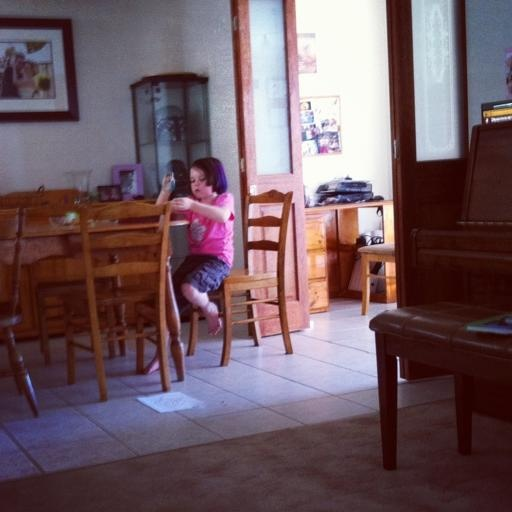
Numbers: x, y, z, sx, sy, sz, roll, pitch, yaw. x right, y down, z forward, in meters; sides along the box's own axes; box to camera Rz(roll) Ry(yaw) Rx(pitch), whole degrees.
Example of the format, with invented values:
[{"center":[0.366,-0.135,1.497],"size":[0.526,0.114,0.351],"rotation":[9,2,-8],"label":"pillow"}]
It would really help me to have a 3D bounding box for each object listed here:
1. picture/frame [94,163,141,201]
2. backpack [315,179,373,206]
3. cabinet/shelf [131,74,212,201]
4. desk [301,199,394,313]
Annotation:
[{"center":[-1.293,-0.680,4.531],"size":[0.373,0.361,0.139],"rotation":[-4,-7,-10],"label":"picture/frame"},{"center":[0.849,-0.599,4.634],"size":[0.385,0.136,0.310],"rotation":[-3,7,-13],"label":"backpack"},{"center":[-0.854,-1.095,4.724],"size":[0.789,1.246,0.728],"rotation":[-17,32,-31],"label":"cabinet/shelf"},{"center":[0.702,0.017,4.625],"size":[1.011,0.906,0.707],"rotation":[-5,5,-26],"label":"desk"}]
